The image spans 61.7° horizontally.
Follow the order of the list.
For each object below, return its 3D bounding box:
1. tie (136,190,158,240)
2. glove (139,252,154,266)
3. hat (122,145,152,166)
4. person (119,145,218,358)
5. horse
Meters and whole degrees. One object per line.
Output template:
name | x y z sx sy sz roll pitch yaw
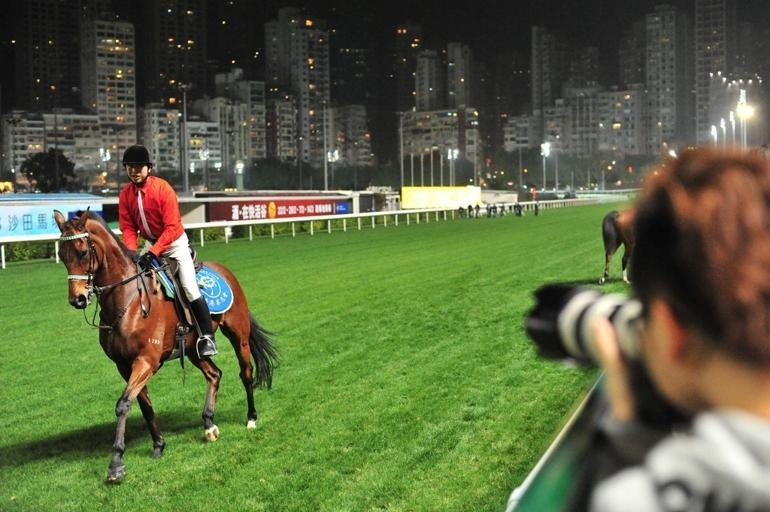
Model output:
tie | -1.864 -0.306 4.980 0.057 0.253 0.246 -20 -2 3
glove | -1.797 0.024 4.870 0.080 0.092 0.098 0 -9 42
hat | -1.806 -0.728 4.650 0.149 0.122 0.219 0 4 -7
person | -1.747 -0.042 5.010 0.666 1.680 0.563 -4 13 10
horse | -1.674 0.708 5.319 0.570 1.847 2.462 -10 -9 19
